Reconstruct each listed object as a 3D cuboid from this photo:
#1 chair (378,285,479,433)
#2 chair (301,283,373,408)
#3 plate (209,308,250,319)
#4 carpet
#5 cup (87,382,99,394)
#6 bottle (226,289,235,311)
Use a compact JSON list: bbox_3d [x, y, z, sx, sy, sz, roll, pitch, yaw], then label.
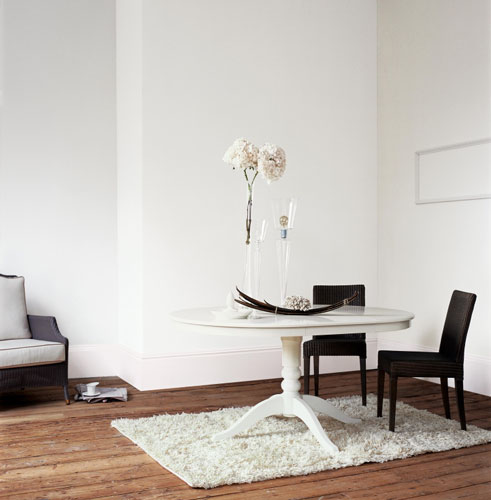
[{"bbox_3d":[1.009,0.617,2.753,0.487,0.755,0.488,1,-2,21],"label":"chair"},{"bbox_3d":[0.503,0.657,3.424,0.493,0.880,0.455,14,-16,-43],"label":"chair"},{"bbox_3d":[-0.061,0.303,2.305,0.179,0.045,0.167,0,-4,-5],"label":"plate"},{"bbox_3d":[0.255,0.957,2.596,1.819,0.064,1.071,1,-4,-21],"label":"carpet"},{"bbox_3d":[-1.064,0.971,3.386,0.080,0.083,0.067,3,-5,-14],"label":"cup"},{"bbox_3d":[-0.071,0.258,2.356,0.066,0.076,0.068,0,-2,1],"label":"bottle"}]
